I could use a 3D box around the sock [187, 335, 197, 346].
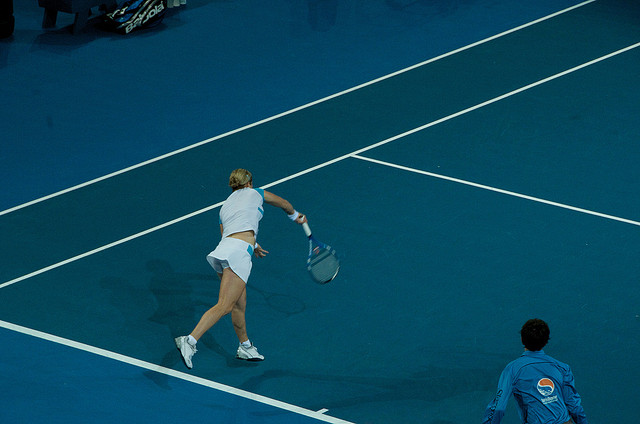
[{"bbox_3d":[-1.557,1.543,9.362,0.072,0.116,0.105,-16,32,11],"label":"sock"}]

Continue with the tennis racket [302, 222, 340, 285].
[{"bbox_3d":[0.000,0.569,10.238,0.379,0.791,0.543,-15,33,15],"label":"tennis racket"}]

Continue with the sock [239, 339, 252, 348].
[{"bbox_3d":[-0.963,1.686,9.935,0.110,0.078,0.085,-14,-7,18],"label":"sock"}]

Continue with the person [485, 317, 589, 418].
[{"bbox_3d":[2.566,1.875,9.163,1.342,1.734,0.546,-2,-10,3],"label":"person"}]

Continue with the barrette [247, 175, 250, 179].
[{"bbox_3d":[-0.941,-0.460,10.104,0.012,0.058,0.018,-12,34,19],"label":"barrette"}]

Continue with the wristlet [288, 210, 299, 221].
[{"bbox_3d":[-0.359,0.035,10.413,0.126,0.089,0.121,-30,16,8],"label":"wristlet"}]

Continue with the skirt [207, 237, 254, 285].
[{"bbox_3d":[-1.101,0.591,9.753,0.262,0.237,0.388,-50,7,17],"label":"skirt"}]
